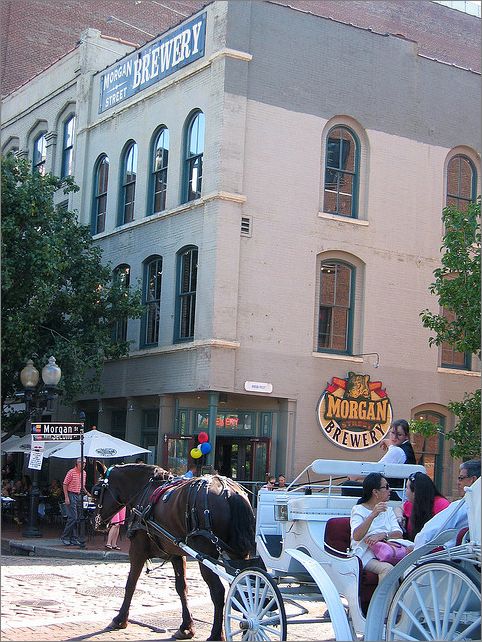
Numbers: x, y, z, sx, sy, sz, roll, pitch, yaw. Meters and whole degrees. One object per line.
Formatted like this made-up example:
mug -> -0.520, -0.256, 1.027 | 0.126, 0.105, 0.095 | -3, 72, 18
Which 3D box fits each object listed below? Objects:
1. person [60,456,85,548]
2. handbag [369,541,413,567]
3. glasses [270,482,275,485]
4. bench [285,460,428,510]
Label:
person -> -3.467, 3.686, 21.287 | 0.455, 1.688, 1.474 | 6, -9, -9
handbag -> 1.402, 2.136, 9.672 | 0.502, 0.194, 0.159 | 6, -48, -45
glasses -> 0.682, 3.597, 23.265 | 0.061, 0.071, 0.076 | 2, -22, -8
bench -> 1.476, 2.180, 14.128 | 1.533, 0.431, 1.176 | -8, 2, 40
